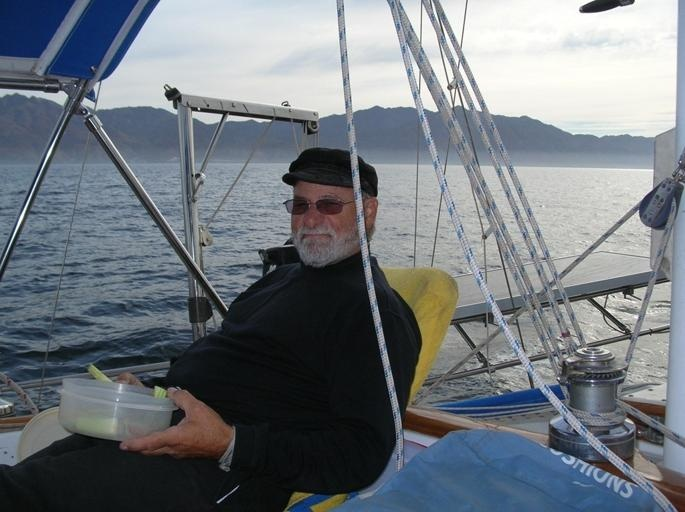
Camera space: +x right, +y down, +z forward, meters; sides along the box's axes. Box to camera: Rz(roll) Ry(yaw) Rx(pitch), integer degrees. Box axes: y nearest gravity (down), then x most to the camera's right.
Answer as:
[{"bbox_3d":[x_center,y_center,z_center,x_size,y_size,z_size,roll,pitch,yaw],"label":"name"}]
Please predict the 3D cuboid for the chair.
[{"bbox_3d":[-0.330,0.415,2.102,1.434,0.603,0.901,5,-4,-20],"label":"chair"}]

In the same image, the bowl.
[{"bbox_3d":[-0.661,0.478,1.597,0.321,0.112,0.323,2,-19,1],"label":"bowl"}]
